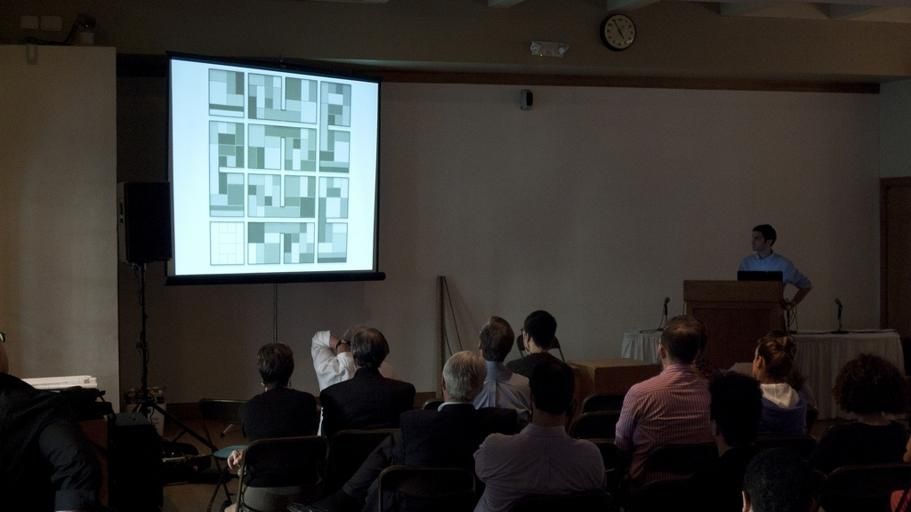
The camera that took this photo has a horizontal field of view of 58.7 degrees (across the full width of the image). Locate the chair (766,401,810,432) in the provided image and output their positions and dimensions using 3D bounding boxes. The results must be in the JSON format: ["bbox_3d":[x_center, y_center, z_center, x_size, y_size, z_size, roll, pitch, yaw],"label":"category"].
[{"bbox_3d":[2.849,1.426,6.977,0.306,0.232,0.297,1,-2,-22],"label":"chair"}]

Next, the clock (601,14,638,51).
[{"bbox_3d":[2.145,-2.946,10.659,0.476,0.455,0.111,3,4,-12],"label":"clock"}]

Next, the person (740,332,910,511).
[{"bbox_3d":[3.250,1.269,7.184,1.042,1.330,1.816,-1,5,-24],"label":"person"}]

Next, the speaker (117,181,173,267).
[{"bbox_3d":[-3.407,-0.351,8.848,0.585,0.905,0.246,0,-1,-10],"label":"speaker"}]

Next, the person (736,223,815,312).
[{"bbox_3d":[4.080,0.151,10.434,0.732,1.220,1.153,11,-3,-29],"label":"person"}]

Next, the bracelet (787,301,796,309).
[{"bbox_3d":[3.978,0.582,9.598,0.064,0.069,0.645,-1,-2,24],"label":"bracelet"}]

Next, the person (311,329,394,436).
[{"bbox_3d":[-1.255,1.231,8.354,0.925,1.095,0.394,-2,-23,-2],"label":"person"}]
